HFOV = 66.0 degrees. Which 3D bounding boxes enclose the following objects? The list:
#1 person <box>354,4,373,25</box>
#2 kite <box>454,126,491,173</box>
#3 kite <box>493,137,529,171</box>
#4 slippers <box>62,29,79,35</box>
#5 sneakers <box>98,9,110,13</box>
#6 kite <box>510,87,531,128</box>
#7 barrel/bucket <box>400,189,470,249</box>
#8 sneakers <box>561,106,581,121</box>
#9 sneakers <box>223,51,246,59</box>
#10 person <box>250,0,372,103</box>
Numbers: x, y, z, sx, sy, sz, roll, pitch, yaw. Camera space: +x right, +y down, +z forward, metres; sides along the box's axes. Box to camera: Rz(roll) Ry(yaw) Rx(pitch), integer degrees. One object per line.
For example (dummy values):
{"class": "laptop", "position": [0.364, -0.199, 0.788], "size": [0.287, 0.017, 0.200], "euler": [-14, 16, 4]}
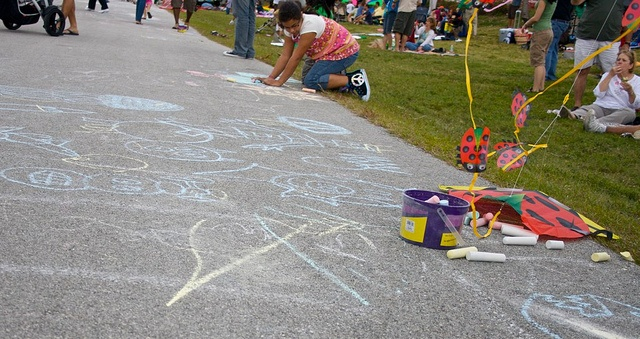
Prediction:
{"class": "person", "position": [1.987, -7.192, 22.913], "size": [0.977, 1.115, 0.966], "euler": [3, 35, -2]}
{"class": "kite", "position": [1.487, -0.217, 4.840], "size": [0.343, 0.413, 0.138], "euler": [5, 7, 4]}
{"class": "kite", "position": [1.932, -0.124, 5.065], "size": [0.322, 0.365, 0.454], "euler": [13, 21, 10]}
{"class": "slippers", "position": [-5.110, -2.800, 9.993], "size": [0.253, 0.065, 0.109], "euler": [0, 19, -21]}
{"class": "sneakers", "position": [-6.910, -5.006, 15.510], "size": [0.397, 0.151, 0.119], "euler": [6, 50, 10]}
{"class": "kite", "position": [2.077, -0.636, 5.115], "size": [0.206, 0.406, 0.471], "euler": [16, 22, 18]}
{"class": "barrel/bucket", "position": [0.980, 0.453, 4.587], "size": [0.615, 0.338, 0.594], "euler": [11, 6, -1]}
{"class": "sneakers", "position": [4.266, -0.951, 8.351], "size": [0.135, 0.176, 0.407], "euler": [49, 9, -19]}
{"class": "sneakers", "position": [-1.869, -2.468, 10.659], "size": [0.469, 0.144, 0.172], "euler": [9, 13, -6]}
{"class": "person", "position": [-0.015, -2.017, 8.205], "size": [1.715, 1.424, 0.620], "euler": [6, 21, -5]}
